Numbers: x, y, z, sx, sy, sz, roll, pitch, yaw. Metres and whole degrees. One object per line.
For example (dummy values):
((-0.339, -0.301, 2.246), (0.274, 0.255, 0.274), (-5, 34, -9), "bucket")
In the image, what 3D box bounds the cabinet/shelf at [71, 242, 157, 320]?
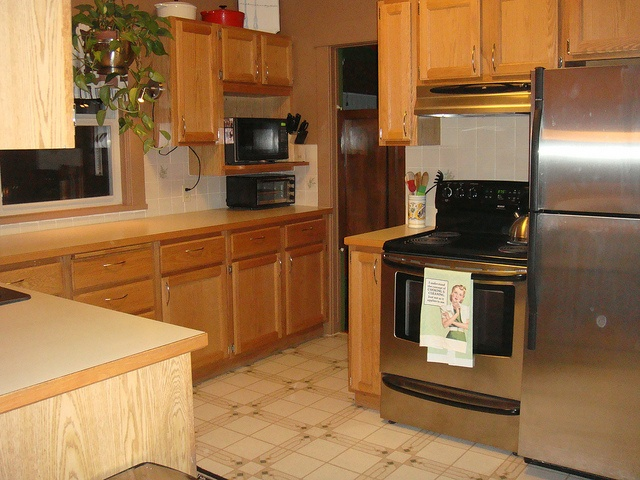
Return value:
((-1.243, 0.221, 3.244), (0.387, 0.501, 0.538), (5, 7, 42), "cabinet/shelf")

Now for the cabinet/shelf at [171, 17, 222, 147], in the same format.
((-0.932, -1.161, 3.953), (0.132, 0.888, 0.406), (5, 12, 32), "cabinet/shelf")

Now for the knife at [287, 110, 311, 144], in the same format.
((-0.187, -1.002, 4.693), (0.202, 0.359, 0.204), (8, 32, 4), "knife")

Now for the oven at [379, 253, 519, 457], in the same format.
((0.893, 0.616, 3.232), (0.905, 1.076, 0.788), (4, 5, 29), "oven")

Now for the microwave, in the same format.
((-0.497, -0.807, 4.335), (0.366, 0.424, 0.651), (5, 10, 33), "microwave")

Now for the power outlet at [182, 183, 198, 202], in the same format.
((-1.072, -0.388, 4.416), (0.105, 0.161, 0.158), (7, 8, 25), "power outlet")

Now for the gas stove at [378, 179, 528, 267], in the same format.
((0.836, -0.075, 3.264), (0.602, 0.461, 0.737), (-21, 20, -35), "gas stove")

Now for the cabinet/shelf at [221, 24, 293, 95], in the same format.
((-0.450, -1.516, 4.403), (0.725, 0.429, 0.255), (16, 33, 25), "cabinet/shelf")

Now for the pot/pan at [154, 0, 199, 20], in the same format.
((-1.048, -1.680, 3.894), (0.293, 0.108, 0.265), (-7, 12, -40), "pot/pan")
